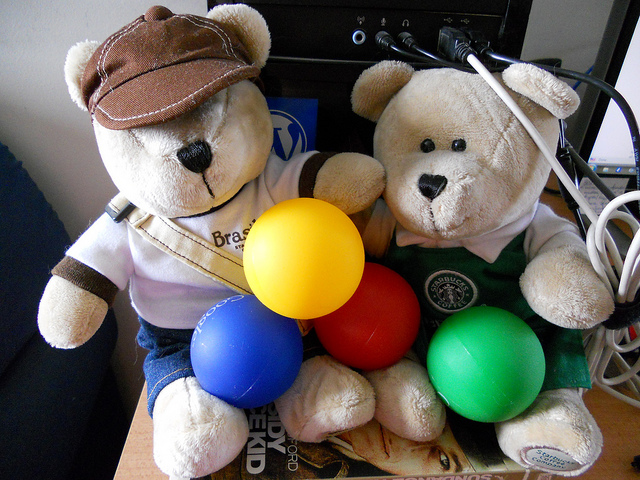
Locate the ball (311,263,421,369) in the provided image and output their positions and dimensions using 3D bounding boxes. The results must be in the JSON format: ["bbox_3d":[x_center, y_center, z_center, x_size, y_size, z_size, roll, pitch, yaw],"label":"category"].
[{"bbox_3d":[0.082,0.135,1.034,0.175,0.163,0.169,2,30,-1],"label":"ball"}]

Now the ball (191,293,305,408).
[{"bbox_3d":[-0.109,0.184,0.985,0.153,0.171,0.194,13,37,1],"label":"ball"}]

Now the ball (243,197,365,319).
[{"bbox_3d":[-0.026,0.026,0.895,0.187,0.109,0.154,-17,52,-7],"label":"ball"}]

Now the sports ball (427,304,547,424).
[{"bbox_3d":[0.272,0.200,0.959,0.166,0.163,0.214,-3,83,-36],"label":"sports ball"}]
